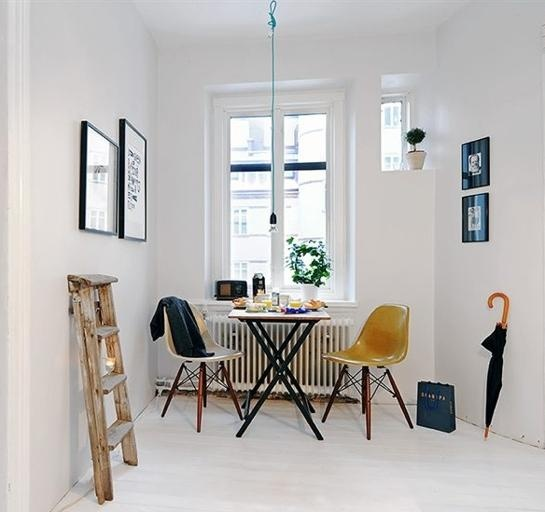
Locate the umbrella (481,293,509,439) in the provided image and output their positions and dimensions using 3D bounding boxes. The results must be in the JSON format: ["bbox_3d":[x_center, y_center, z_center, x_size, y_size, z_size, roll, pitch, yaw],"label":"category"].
[{"bbox_3d":[1.516,0.742,3.701,0.158,0.964,0.348,5,12,24],"label":"umbrella"}]

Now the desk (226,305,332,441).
[{"bbox_3d":[0.044,0.785,3.965,0.693,0.916,0.901,0,12,2],"label":"desk"}]

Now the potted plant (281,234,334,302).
[{"bbox_3d":[0.287,0.100,4.464,0.483,0.781,0.414,0,-9,1],"label":"potted plant"}]

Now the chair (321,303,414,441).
[{"bbox_3d":[0.686,0.770,3.877,0.555,0.928,0.479,8,-5,-40],"label":"chair"}]

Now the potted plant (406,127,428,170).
[{"bbox_3d":[1.151,-0.896,4.366,0.128,0.292,0.135,12,14,33],"label":"potted plant"}]

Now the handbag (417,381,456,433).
[{"bbox_3d":[1.152,1.067,3.842,0.237,0.359,0.105,5,16,36],"label":"handbag"}]
